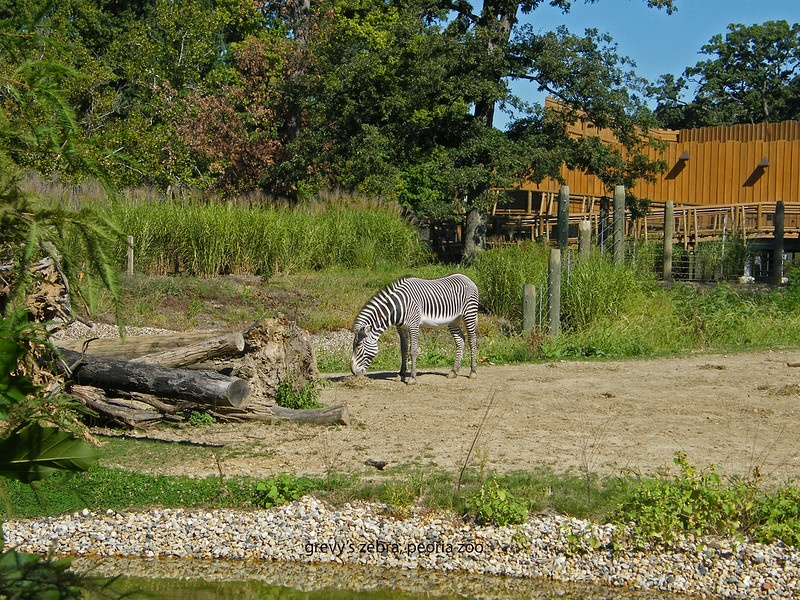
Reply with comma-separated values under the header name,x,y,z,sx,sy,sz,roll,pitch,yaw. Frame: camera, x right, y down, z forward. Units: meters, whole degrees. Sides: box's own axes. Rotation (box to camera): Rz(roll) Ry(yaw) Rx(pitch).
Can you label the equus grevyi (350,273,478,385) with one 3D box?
name,x,y,z,sx,sy,sz,roll,pitch,yaw
equus grevyi,0.267,0.502,18.304,2.453,1.912,0.690,-5,11,-28
